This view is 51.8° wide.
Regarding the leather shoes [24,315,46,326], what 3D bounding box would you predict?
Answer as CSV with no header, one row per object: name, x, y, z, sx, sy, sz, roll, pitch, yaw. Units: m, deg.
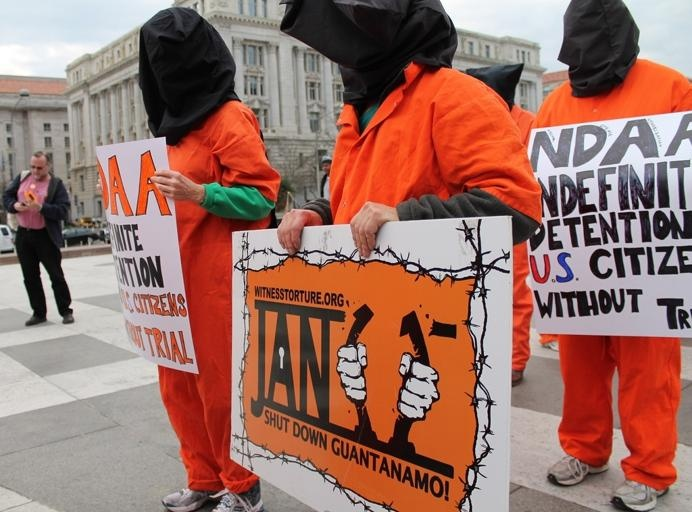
leather shoes,-3.836,0.795,8.807,0.094,0.108,0.264,0,-3,23

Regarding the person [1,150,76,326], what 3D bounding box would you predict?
person,-3.756,-0.230,8.828,0.687,2.111,0.968,-10,13,-41

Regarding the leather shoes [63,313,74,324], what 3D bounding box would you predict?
leather shoes,-3.386,0.765,8.735,0.086,0.097,0.150,1,-10,-23

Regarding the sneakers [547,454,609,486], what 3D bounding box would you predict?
sneakers,1.431,1.292,4.387,0.380,0.176,0.156,1,5,-15
